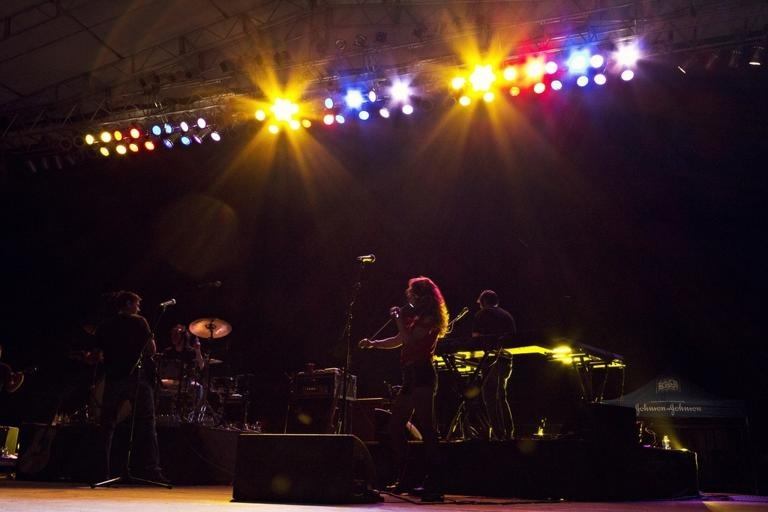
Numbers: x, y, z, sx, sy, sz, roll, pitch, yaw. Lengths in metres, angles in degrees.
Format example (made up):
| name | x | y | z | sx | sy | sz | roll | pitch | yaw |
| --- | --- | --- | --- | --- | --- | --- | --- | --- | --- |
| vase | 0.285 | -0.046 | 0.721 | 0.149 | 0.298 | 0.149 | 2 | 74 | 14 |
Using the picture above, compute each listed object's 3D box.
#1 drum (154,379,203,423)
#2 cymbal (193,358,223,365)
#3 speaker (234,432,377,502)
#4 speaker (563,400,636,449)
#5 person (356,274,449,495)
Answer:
| name | x | y | z | sx | sy | sz | roll | pitch | yaw |
| --- | --- | --- | --- | --- | --- | --- | --- | --- | --- |
| drum | -3.236 | 2.262 | 10.798 | 0.620 | 0.847 | 0.799 | 0 | -10 | -14 |
| cymbal | -3.018 | 1.801 | 11.794 | 0.272 | 0.089 | 0.364 | -2 | -6 | 6 |
| speaker | -0.774 | 2.076 | 7.274 | 1.109 | 0.598 | 0.826 | -2 | -20 | 9 |
| speaker | 2.535 | 1.863 | 7.872 | 0.566 | 0.377 | 0.597 | -1 | -10 | 31 |
| person | 0.340 | 1.488 | 7.883 | 0.745 | 2.522 | 1.324 | 2 | -29 | 3 |
